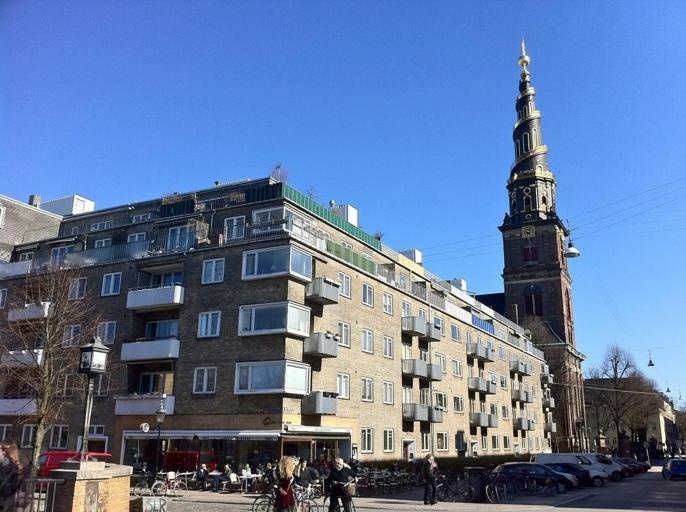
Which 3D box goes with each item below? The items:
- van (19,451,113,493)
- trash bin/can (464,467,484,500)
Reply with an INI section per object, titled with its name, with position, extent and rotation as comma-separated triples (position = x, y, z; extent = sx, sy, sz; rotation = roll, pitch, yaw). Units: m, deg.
[van]
position = -13.856, 10.781, 31.140
extent = 4.240, 2.133, 2.129
rotation = 4, -8, 1
[trash bin/can]
position = 6.920, 12.063, 32.435
extent = 0.992, 1.706, 0.442
rotation = -10, -24, 20
